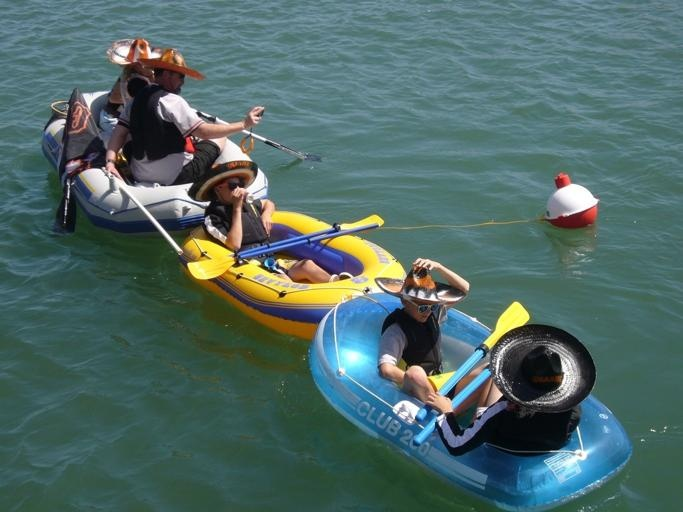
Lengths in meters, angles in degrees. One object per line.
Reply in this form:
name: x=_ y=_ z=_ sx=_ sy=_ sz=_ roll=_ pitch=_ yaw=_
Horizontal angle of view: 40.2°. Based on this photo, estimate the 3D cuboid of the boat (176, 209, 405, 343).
boat: x=-0.597 y=0.182 z=10.908 sx=2.031 sy=0.601 sz=1.862 roll=31 pitch=39 yaw=34

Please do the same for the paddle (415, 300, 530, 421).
paddle: x=1.284 y=1.089 z=9.292 sx=0.316 sy=0.147 sz=2.063 roll=36 pitch=49 yaw=21

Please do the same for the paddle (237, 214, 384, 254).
paddle: x=-0.419 y=-0.249 z=11.346 sx=1.514 sy=0.094 sz=0.225 roll=-13 pitch=43 yaw=-10

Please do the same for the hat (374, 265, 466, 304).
hat: x=0.834 y=0.286 z=9.526 sx=0.879 sy=0.229 sz=0.770 roll=11 pitch=2 yaw=-24

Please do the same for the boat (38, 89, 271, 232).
boat: x=-2.880 y=-1.387 z=13.024 sx=2.268 sy=0.738 sz=3.207 roll=-17 pitch=44 yaw=-28

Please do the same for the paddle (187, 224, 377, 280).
paddle: x=-0.715 y=-0.032 z=11.064 sx=2.233 sy=0.149 sz=0.323 roll=-11 pitch=50 yaw=-17
